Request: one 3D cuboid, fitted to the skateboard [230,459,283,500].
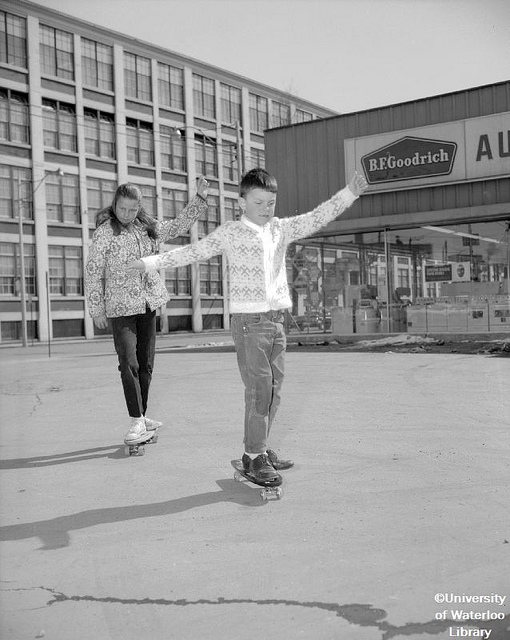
[{"bbox_3d":[0.019,0.931,4.234,0.167,0.134,0.274,1,2,-33],"label":"skateboard"}]

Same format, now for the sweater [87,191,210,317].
[{"bbox_3d":[-0.871,-0.411,5.901,0.751,1.143,1.112,0,4,-5],"label":"sweater"}]

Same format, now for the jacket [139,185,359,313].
[{"bbox_3d":[-0.021,-0.427,4.588,1.314,0.679,0.366,-2,1,-21],"label":"jacket"}]

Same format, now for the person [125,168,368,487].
[{"bbox_3d":[0.028,0.015,4.504,1.262,1.645,0.532,-2,1,-26],"label":"person"}]

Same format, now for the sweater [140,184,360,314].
[{"bbox_3d":[0.034,-0.351,4.604,1.416,0.715,0.308,-13,0,-4],"label":"sweater"}]
